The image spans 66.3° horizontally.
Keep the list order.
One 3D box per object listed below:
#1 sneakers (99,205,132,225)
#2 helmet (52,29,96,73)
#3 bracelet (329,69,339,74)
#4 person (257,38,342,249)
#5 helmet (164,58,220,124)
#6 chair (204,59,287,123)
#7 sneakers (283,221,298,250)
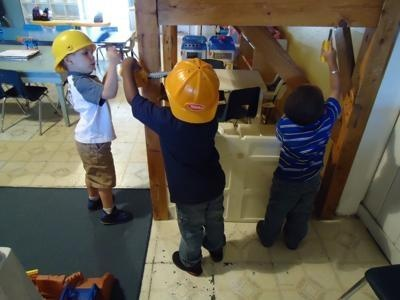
[{"bbox_3d":[-0.906,0.709,3.318,0.352,0.177,0.159,-5,31,-24],"label":"sneakers"},{"bbox_3d":[-1.163,-0.851,2.808,0.273,0.209,0.373,-42,6,-20],"label":"helmet"},{"bbox_3d":[1.165,-0.684,2.661,0.043,0.025,0.015,-8,5,17],"label":"bracelet"},{"bbox_3d":[0.929,0.097,2.821,0.721,1.827,0.461,-23,39,-33],"label":"person"},{"bbox_3d":[-0.050,-0.404,2.233,0.362,0.504,0.222,-6,1,-13],"label":"helmet"},{"bbox_3d":[0.577,-0.732,4.312,0.844,0.536,0.865,0,56,0],"label":"chair"},{"bbox_3d":[0.890,0.876,3.108,0.066,0.234,0.166,-6,-10,12],"label":"sneakers"}]
